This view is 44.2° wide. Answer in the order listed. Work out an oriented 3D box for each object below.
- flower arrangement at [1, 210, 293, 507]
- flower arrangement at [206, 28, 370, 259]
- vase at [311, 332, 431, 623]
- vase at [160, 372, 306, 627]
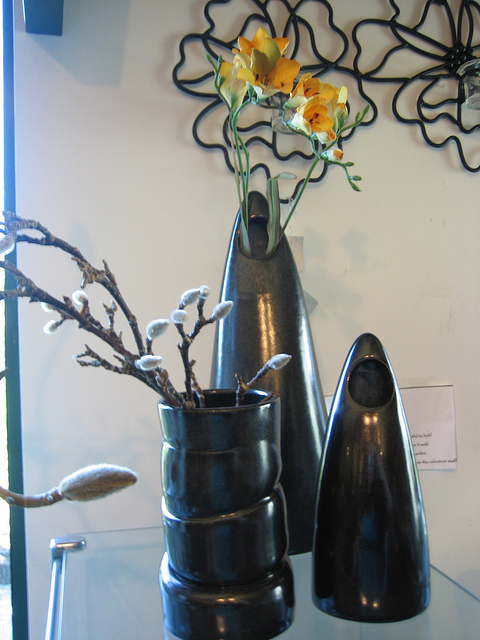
[{"bbox_3d":[-0.135,0.031,0.544,0.224,0.202,0.400,4,-7,-37],"label":"flower arrangement"},{"bbox_3d":[0.053,-0.232,0.762,0.174,0.280,0.240,-5,41,-12],"label":"flower arrangement"},{"bbox_3d":[0.109,0.130,0.502,0.097,0.241,0.060,-1,-4,16],"label":"vase"},{"bbox_3d":[-0.012,0.150,0.502,0.114,0.202,0.123,-6,12,-20],"label":"vase"}]
